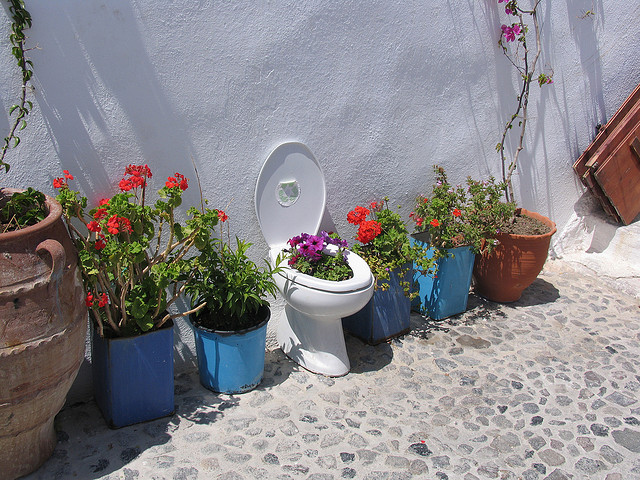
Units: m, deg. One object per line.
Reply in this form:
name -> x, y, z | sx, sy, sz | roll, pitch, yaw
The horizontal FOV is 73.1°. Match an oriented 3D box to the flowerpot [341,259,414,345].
flowerpot -> 0.358, 0.373, 2.693 | 0.209, 0.397, 0.394 | -9, 26, -24

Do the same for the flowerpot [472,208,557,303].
flowerpot -> 1.450, 0.145, 3.458 | 0.706, 0.589, 0.678 | 9, 19, 27

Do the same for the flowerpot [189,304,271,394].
flowerpot -> -0.501, 0.619, 2.453 | 0.409, 0.352, 0.381 | 2, 6, 28

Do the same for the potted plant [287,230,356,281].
potted plant -> -0.004, 0.096, 2.499 | 0.362, 0.258, 0.371 | -10, 21, -3

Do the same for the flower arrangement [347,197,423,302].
flower arrangement -> 0.427, 0.079, 2.802 | 0.327, 0.654, 0.418 | 11, 27, 41

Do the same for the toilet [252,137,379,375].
toilet -> 0.010, 0.153, 2.539 | 0.551, 1.220, 0.717 | -19, 31, -40

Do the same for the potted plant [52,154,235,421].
potted plant -> -0.855, 0.234, 2.056 | 0.956, 1.283, 0.493 | -13, 35, -35

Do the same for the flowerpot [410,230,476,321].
flowerpot -> 0.851, 0.231, 3.031 | 0.431, 0.582, 0.403 | -11, 21, -33

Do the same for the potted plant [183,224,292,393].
potted plant -> -0.639, 0.371, 2.634 | 0.586, 1.009, 0.739 | 5, 7, 18
